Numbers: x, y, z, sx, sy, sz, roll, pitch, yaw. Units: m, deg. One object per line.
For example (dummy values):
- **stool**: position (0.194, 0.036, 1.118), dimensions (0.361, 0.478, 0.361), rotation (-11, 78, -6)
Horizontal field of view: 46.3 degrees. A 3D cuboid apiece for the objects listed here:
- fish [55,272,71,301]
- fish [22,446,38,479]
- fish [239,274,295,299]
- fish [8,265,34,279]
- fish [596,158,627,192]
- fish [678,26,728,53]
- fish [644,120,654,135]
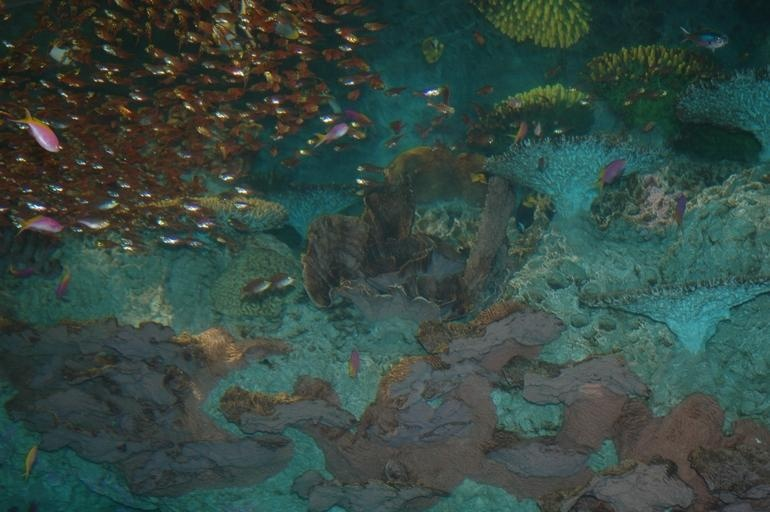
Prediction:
- **fish**: position (-3.473, 0.342, 9.868), dimensions (0.106, 0.321, 0.165), rotation (10, -1, -8)
- **fish**: position (-3.881, 2.265, 9.910), dimensions (0.103, 0.373, 0.171), rotation (5, -2, -40)
- **fish**: position (-1.260, 0.321, 9.720), dimensions (0.572, 0.241, 0.111), rotation (3, -1, -6)
- **fish**: position (-3.900, 0.176, 9.914), dimensions (0.386, 0.138, 0.092), rotation (5, 31, -7)
- **fish**: position (2.312, -0.851, 9.340), dimensions (0.196, 0.330, 0.106), rotation (42, 18, -10)
- **fish**: position (3.186, -2.207, 9.052), dimensions (0.470, 0.185, 0.255), rotation (2, -1, 13)
- **fish**: position (2.693, -1.328, 9.262), dimensions (0.073, 0.124, 0.031), rotation (33, -10, 18)
